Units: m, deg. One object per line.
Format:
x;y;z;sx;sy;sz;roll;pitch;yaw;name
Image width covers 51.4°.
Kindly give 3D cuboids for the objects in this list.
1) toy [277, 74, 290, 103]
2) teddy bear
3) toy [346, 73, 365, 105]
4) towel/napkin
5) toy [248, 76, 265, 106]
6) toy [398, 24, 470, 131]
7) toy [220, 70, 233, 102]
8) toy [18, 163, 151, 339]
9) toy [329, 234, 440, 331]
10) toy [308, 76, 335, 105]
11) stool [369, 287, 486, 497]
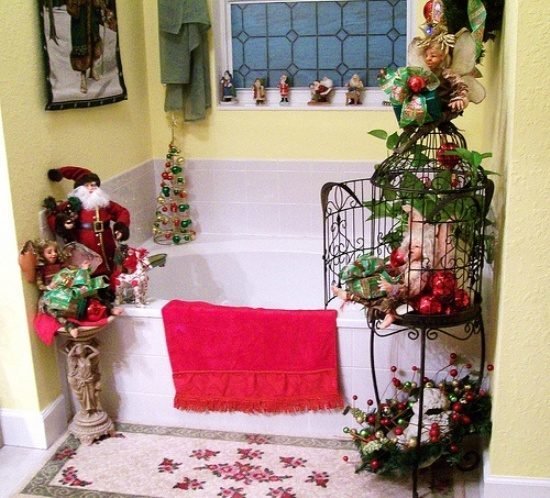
0.060;-0.971;3.468;0.060;0.177;0.105;-1;15;8;toy
0.569;0.618;2.146;0.162;0.180;0.091;3;-5;10;teddy bear
0.454;-0.931;3.348;0.114;0.174;0.097;19;35;32;toy
-0.089;0.446;2.347;0.563;0.324;0.144;1;13;9;towel/napkin
-0.097;-0.964;3.492;0.083;0.165;0.146;-3;14;0;toy
0.523;-0.579;1.863;0.304;0.363;0.192;1;15;17;toy
-0.291;-0.986;3.468;0.094;0.179;0.062;11;20;43;toy
-0.834;-0.017;2.500;0.354;0.674;0.649;-3;14;0;toy
0.378;0.079;2.040;0.314;0.257;0.387;3;15;26;toy
0.303;-0.941;3.387;0.180;0.131;0.072;8;44;30;toy
0.592;0.507;2.139;0.458;0.734;0.419;-2;15;6;stool
